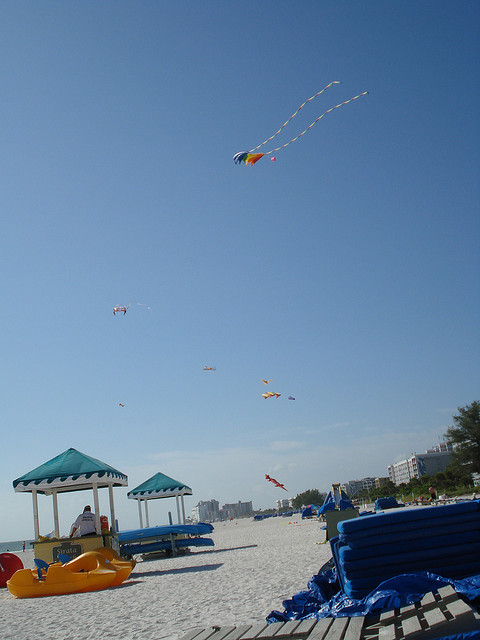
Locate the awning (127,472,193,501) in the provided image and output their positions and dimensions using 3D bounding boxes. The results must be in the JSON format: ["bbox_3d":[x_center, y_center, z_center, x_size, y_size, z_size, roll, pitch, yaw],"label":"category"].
[{"bbox_3d":[-3.152,6.461,21.184,2.253,0.955,1.861,-7,-16,-11],"label":"awning"}]

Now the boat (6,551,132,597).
[{"bbox_3d":[-3.179,4.763,10.107,1.439,0.462,1.026,-8,-17,2],"label":"boat"}]
